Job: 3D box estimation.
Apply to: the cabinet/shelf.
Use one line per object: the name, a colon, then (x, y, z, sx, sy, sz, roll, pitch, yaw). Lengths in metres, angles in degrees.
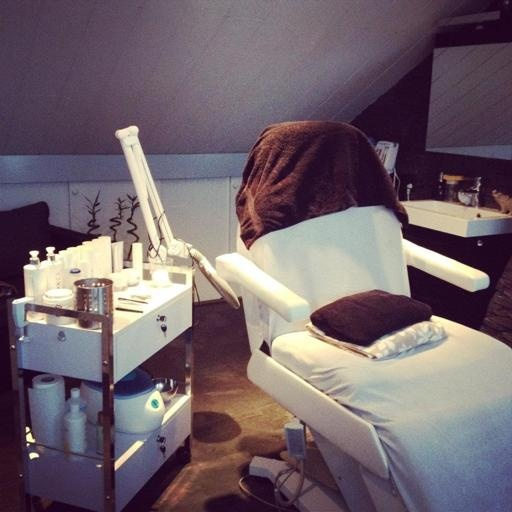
cabinet/shelf: (-0.435, 0.376, 1.340, 0.362, 0.637, 0.618, 6, 17, 15)

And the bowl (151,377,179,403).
bowl: (-0.306, 0.452, 1.628, 0.105, 0.030, 0.098, 2, 3, 0)

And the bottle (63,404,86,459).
bottle: (-0.494, 0.464, 1.284, 0.057, 0.136, 0.053, -3, 8, 0)
